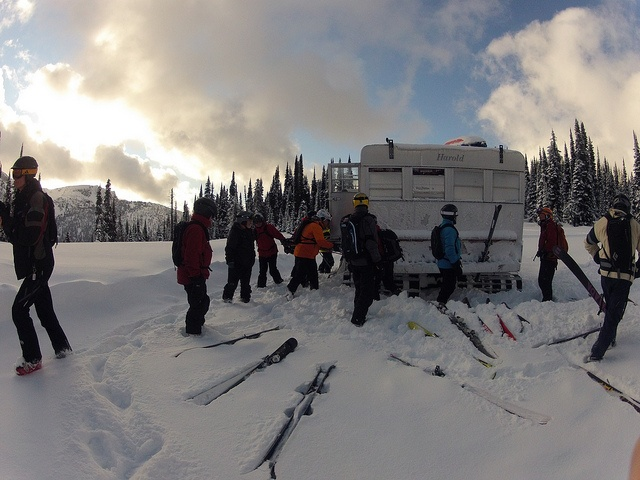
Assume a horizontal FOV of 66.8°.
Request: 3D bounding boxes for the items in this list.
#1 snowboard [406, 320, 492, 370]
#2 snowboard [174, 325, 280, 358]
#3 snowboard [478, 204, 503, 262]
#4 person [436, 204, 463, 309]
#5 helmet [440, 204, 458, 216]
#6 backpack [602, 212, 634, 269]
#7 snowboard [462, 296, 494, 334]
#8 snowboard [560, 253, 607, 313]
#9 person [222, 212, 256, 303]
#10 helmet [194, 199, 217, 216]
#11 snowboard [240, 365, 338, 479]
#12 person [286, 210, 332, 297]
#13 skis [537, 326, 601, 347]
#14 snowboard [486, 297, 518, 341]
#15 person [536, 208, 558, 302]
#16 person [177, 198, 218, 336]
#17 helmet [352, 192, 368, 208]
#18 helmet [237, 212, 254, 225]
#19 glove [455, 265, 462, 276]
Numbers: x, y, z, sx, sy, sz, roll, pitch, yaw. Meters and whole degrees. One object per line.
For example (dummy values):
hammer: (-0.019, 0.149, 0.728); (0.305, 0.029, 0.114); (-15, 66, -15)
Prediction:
snowboard: (2.320, 1.792, 8.734); (1.575, 0.200, 0.474); (29, 21, 37)
snowboard: (-1.688, 1.853, 8.715); (2.122, 0.282, 0.224); (-5, 12, -44)
snowboard: (4.114, -0.121, 11.715); (0.137, 1.393, 0.191); (20, -8, -8)
person: (2.730, 0.307, 10.156); (0.479, 2.089, 0.510); (0, 1, 16)
helmet: (2.740, -0.615, 10.222); (0.271, 0.277, 0.234); (-2, 13, -26)
backpack: (5.146, 0.050, 8.310); (0.396, 1.026, 0.285); (1, 1, 31)
snowboard: (3.135, 1.523, 9.683); (0.120, 0.131, 1.107); (5, 26, -11)
snowboard: (5.984, 1.036, 11.012); (0.196, 1.348, 0.139); (-25, -13, -24)
person: (-1.927, 0.426, 11.594); (0.779, 2.130, 0.484); (0, 1, -15)
helmet: (-2.103, -0.599, 9.189); (0.310, 0.442, 0.421); (11, 11, 32)
snowboard: (-0.349, 2.399, 6.868); (0.389, 0.171, 2.215); (-11, 22, 28)
person: (-0.268, 0.352, 12.030); (1.008, 2.063, 1.143); (0, 1, -1)
skis: (4.472, 1.737, 8.608); (0.811, 0.049, 0.117); (-19, 42, -3)
snowboard: (3.557, 1.581, 9.459); (0.157, 0.150, 0.979); (-36, 17, 10)
person: (5.442, 0.361, 11.557); (0.437, 2.253, 1.291); (0, 1, 26)
person: (-2.305, 0.493, 9.104); (0.702, 2.559, 0.676); (0, 1, -14)
helmet: (0.836, -0.786, 9.898); (0.259, 0.323, 0.319); (-1, -3, -3)
helmet: (-1.809, -0.519, 11.653); (0.309, 0.267, 0.248); (-22, 14, -11)
glove: (2.903, 0.638, 10.086); (0.115, 0.240, 0.290); (1, 1, 31)
